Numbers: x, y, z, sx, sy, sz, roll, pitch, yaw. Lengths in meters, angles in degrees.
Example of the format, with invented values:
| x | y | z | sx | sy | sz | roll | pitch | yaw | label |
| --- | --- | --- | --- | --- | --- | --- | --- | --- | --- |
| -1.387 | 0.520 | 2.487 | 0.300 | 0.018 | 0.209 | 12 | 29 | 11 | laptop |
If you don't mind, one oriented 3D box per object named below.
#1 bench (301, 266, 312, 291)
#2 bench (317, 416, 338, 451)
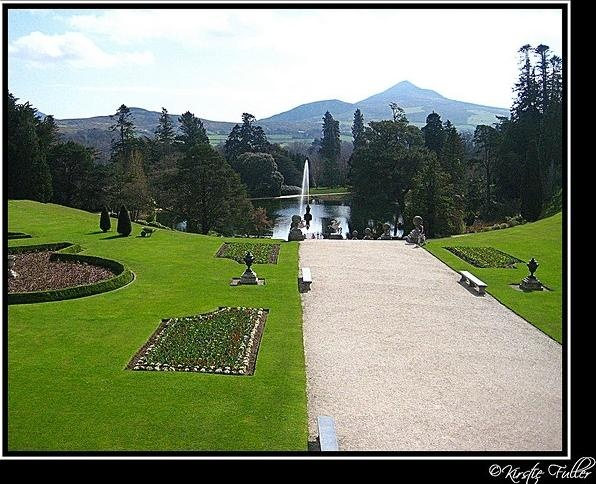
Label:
| x | y | z | sx | sy | sz | roll | pitch | yaw | label |
| --- | --- | --- | --- | --- | --- | --- | --- | --- | --- |
| 0.377 | 1.591 | 18.999 | 0.448 | 0.689 | 1.292 | 0 | 6 | 0 | bench |
| 0.585 | 3.759 | 9.021 | 0.253 | 0.012 | 0.978 | 1 | 10 | 2 | bench |
